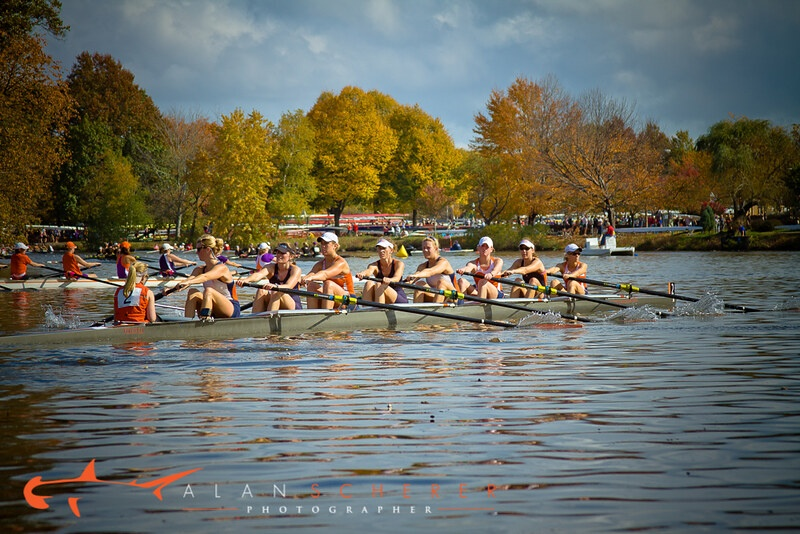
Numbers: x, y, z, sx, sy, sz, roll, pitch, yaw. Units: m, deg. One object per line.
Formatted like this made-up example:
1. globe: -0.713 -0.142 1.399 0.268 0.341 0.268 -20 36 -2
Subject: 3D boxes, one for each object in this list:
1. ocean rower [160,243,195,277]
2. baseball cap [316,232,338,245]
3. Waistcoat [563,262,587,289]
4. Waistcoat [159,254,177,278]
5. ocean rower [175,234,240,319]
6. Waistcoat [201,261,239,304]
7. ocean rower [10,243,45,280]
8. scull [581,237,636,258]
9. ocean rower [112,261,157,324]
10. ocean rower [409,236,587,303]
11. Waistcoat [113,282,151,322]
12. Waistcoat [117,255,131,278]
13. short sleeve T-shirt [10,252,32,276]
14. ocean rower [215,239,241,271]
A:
1. ocean rower: -8.295 -0.259 32.514 1.201 0.780 1.704 -6 11 -43
2. baseball cap: -1.416 -0.586 17.250 0.237 0.171 0.359 0 -11 34
3. Waistcoat: 3.850 0.185 19.424 0.500 0.773 0.321 20 -30 -38
4. Waistcoat: -7.275 -0.010 27.409 0.533 0.891 0.731 -6 7 -22
5. ocean rower: -3.543 0.179 16.251 1.019 1.612 0.729 -3 14 -11
6. Waistcoat: -3.365 0.243 16.567 0.347 0.567 0.408 4 26 -19
7. ocean rower: -11.582 -0.034 27.135 0.985 1.423 0.843 -2 5 -36
8. scull: 9.877 -0.919 42.260 1.494 1.019 3.057 -5 13 -21
9. ocean rower: -4.908 0.445 16.065 0.762 1.160 0.618 -5 14 -17
10. ocean rower: 2.174 0.151 18.703 2.503 0.880 1.809 -1 -4 18
11. Waistcoat: -4.929 0.658 16.109 0.787 0.854 0.469 2 -1 -5
12. Waistcoat: -6.936 -0.009 21.971 0.363 0.640 0.475 -1 17 -18
13. short sleeve T-shirt: -12.030 -0.077 27.704 0.512 0.832 0.893 -2 7 -39
14. ocean rower: -6.138 -0.458 31.365 0.447 1.505 1.544 -10 14 -4
